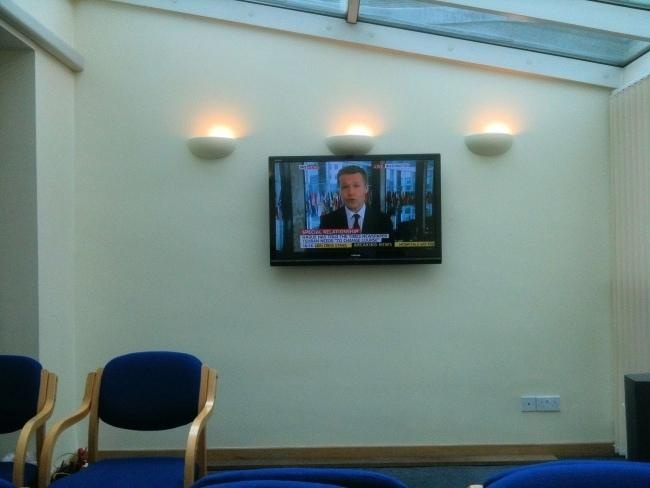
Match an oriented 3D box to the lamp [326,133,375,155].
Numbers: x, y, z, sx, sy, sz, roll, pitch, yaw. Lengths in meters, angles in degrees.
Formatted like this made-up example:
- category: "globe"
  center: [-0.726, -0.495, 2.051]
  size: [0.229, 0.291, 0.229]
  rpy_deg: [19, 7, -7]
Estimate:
- category: "lamp"
  center: [0.205, -0.807, 5.354]
  size: [0.388, 0.151, 0.130]
  rpy_deg: [1, -3, -3]
